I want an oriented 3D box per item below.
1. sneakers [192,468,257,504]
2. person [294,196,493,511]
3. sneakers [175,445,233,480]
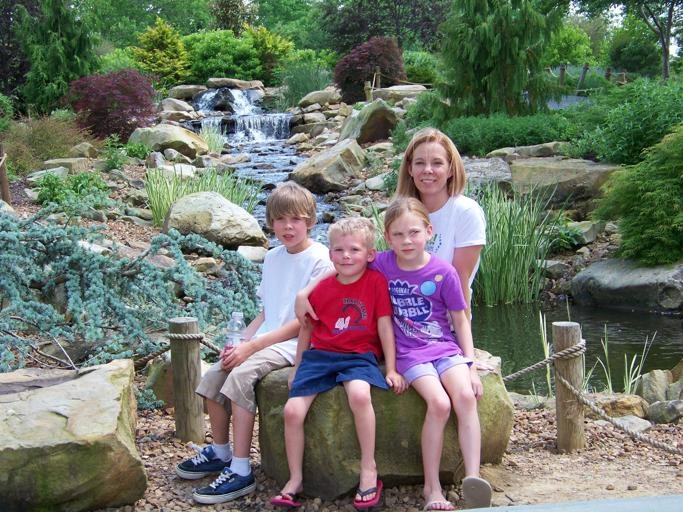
[{"bbox_3d":[-0.776,1.508,4.358,0.408,0.180,0.177,-3,2,-22],"label":"sneakers"},{"bbox_3d":[0.578,0.575,4.149,0.584,1.838,0.806,-4,11,-13],"label":"person"},{"bbox_3d":[-0.972,1.432,4.572,0.453,0.218,0.169,2,4,-18],"label":"sneakers"}]
